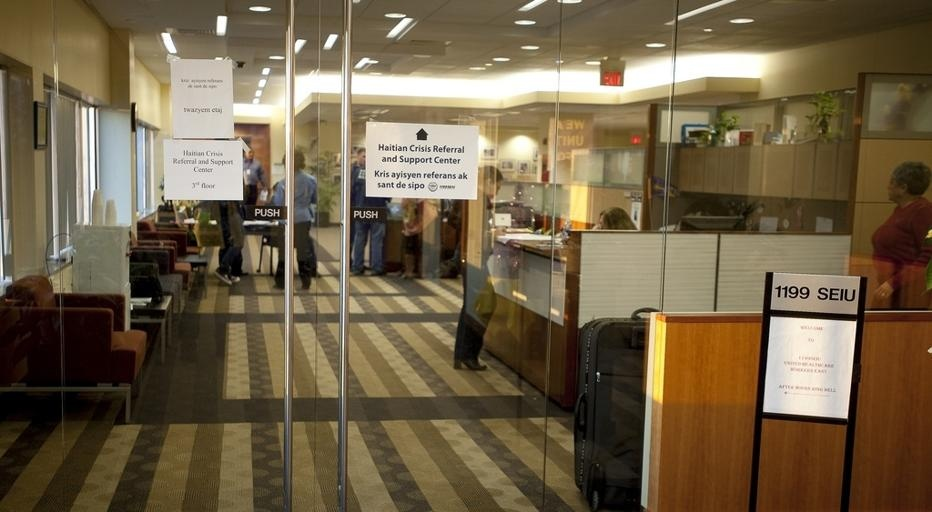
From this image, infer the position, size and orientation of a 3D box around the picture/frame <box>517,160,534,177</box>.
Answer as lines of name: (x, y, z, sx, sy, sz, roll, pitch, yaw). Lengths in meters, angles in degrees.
picture/frame: (0.446, -0.680, 5.537, 0.137, 0.107, 0.014, 1, -2, -11)

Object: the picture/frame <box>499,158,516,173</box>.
picture/frame: (0.304, -0.702, 5.507, 0.123, 0.093, 0.010, 0, 0, -16)

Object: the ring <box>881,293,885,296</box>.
ring: (3.351, 0.311, 5.683, 0.029, 0.024, 0.007, 4, 1, 15)

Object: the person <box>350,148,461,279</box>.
person: (-0.494, -0.352, 6.341, 1.008, 1.683, 0.895, 0, 7, -2)

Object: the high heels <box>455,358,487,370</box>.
high heels: (0.036, 0.876, 5.717, 0.285, 0.112, 0.092, -1, 2, -5)

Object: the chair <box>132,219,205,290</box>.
chair: (-2.259, -0.060, 5.335, 0.517, 0.490, 0.363, 0, 9, -22)

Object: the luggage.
luggage: (1.120, 1.254, 5.536, 0.531, 1.461, 0.265, 2, 7, 11)
